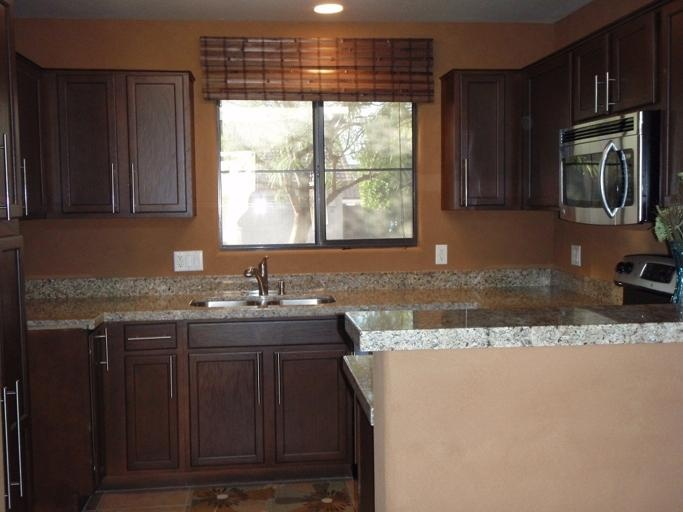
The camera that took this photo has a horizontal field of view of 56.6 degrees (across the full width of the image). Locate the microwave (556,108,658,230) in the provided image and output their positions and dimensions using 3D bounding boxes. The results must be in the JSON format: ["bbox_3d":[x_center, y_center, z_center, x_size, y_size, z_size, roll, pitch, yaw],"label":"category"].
[{"bbox_3d":[1.360,-0.436,3.248,0.274,0.487,0.572,-4,6,-20],"label":"microwave"}]

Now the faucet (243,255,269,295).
[{"bbox_3d":[-0.542,0.123,4.087,0.157,0.248,0.251,-3,5,-7],"label":"faucet"}]

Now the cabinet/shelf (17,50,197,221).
[{"bbox_3d":[-1.417,-0.687,3.788,1.051,1.037,0.419,0,2,-6],"label":"cabinet/shelf"}]
